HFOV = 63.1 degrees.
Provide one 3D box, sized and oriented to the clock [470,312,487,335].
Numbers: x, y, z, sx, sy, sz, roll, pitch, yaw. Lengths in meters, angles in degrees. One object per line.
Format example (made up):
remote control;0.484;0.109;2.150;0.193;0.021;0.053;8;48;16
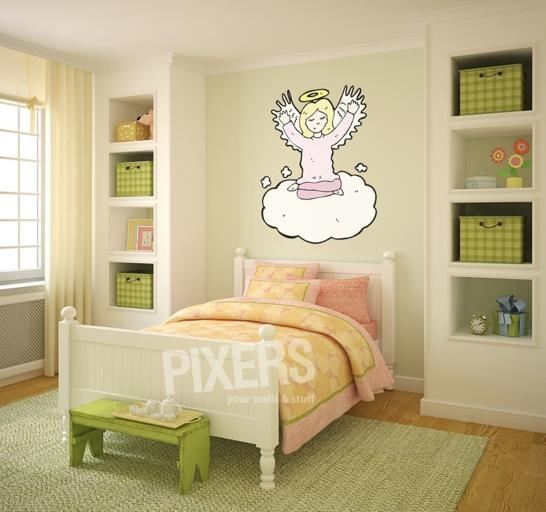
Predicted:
clock;1.296;0.433;2.858;0.132;0.120;0.118;-9;4;-39

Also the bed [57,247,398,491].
bed;-0.136;0.536;2.965;1.548;0.862;1.959;-1;-1;30

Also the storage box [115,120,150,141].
storage box;-1.257;-1.088;3.987;0.268;0.143;0.249;1;2;29

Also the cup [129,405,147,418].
cup;-0.615;0.696;2.014;0.045;0.035;0.096;3;-3;-30

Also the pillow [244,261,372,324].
pillow;0.288;0.235;3.236;0.772;0.177;0.491;3;42;14

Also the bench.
bench;-0.632;0.847;2.042;0.651;0.264;0.235;-2;-4;26

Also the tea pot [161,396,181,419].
tea pot;-0.450;0.670;1.974;0.066;0.086;0.106;4;-5;-41

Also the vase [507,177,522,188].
vase;1.466;-0.441;2.702;0.075;0.050;0.073;2;5;41

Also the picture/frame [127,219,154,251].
picture/frame;-1.222;-0.191;4.027;0.323;0.266;0.074;7;2;37

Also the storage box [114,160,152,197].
storage box;-1.232;-0.674;3.908;0.402;0.297;0.223;1;3;23

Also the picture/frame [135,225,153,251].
picture/frame;-1.154;-0.157;3.969;0.271;0.282;0.021;0;-3;27
